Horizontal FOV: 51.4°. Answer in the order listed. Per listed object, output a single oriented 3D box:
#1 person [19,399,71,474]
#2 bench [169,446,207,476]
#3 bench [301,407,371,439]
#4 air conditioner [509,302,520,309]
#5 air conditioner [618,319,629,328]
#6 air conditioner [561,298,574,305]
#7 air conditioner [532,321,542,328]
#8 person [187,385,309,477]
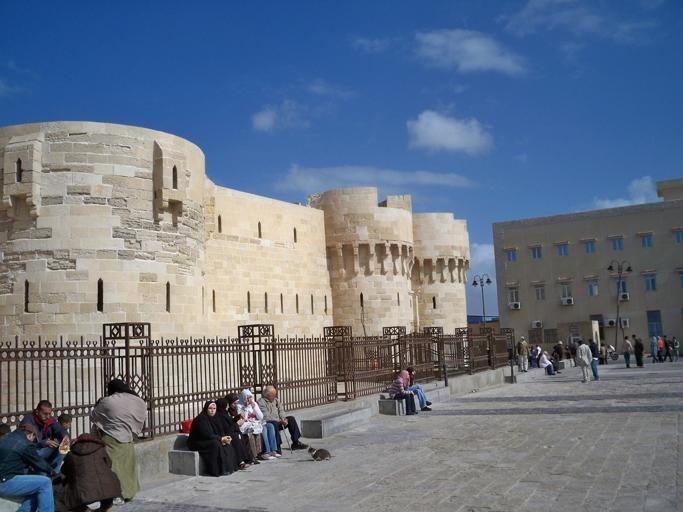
[{"bbox_3d":[-5.072,3.193,12.141,0.897,1.377,0.661,5,6,27],"label":"person"},{"bbox_3d":[-2.957,3.901,13.597,0.525,0.321,0.526,-1,-9,17],"label":"bench"},{"bbox_3d":[-0.129,3.959,16.789,0.643,0.610,1.947,13,3,31],"label":"bench"},{"bbox_3d":[13.461,3.880,55.049,0.798,0.605,0.503,12,3,14],"label":"air conditioner"},{"bbox_3d":[20.290,4.850,50.886,0.675,0.611,0.234,1,-4,-17],"label":"air conditioner"},{"bbox_3d":[16.892,3.451,53.001,0.923,0.491,0.607,-5,14,3],"label":"air conditioner"},{"bbox_3d":[14.795,5.222,53.699,0.841,0.587,0.471,-3,-10,20],"label":"air conditioner"},{"bbox_3d":[-1.908,3.502,14.052,1.844,1.115,1.090,-1,-4,-44],"label":"person"}]
